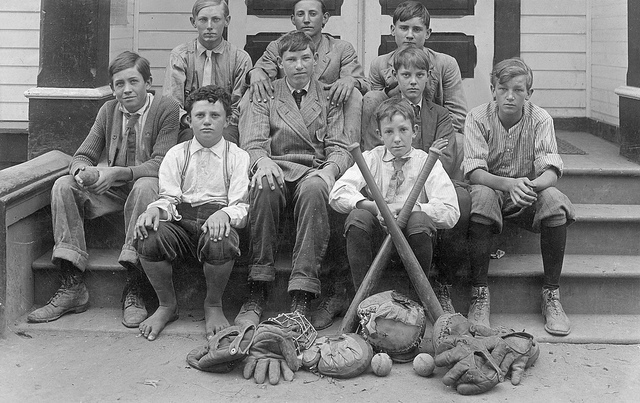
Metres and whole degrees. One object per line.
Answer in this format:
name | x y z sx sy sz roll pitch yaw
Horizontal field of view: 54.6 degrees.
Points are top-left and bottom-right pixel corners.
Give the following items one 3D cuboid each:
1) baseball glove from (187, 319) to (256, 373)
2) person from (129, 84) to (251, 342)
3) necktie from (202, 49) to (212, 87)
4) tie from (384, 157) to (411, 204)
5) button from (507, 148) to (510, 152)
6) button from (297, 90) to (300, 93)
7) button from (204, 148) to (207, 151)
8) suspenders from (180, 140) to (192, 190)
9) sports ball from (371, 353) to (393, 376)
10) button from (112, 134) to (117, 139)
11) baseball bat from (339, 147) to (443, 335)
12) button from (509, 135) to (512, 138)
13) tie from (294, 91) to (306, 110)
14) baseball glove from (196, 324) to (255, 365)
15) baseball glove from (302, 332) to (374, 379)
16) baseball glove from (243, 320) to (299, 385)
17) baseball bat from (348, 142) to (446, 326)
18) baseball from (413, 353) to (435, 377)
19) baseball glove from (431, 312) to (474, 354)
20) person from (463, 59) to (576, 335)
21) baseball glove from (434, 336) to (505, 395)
baseball glove | -0.698 0.982 4.110 0.498 0.176 0.358 -2 15 6
person | -0.903 0.075 4.458 0.794 1.774 0.526 0 11 -7
necktie | -0.952 -1.139 5.265 0.079 0.295 0.072 1 11 -3
tie | 0.553 -0.150 4.500 0.187 0.369 0.117 2 4 -9
button | 1.424 -0.387 4.686 0.023 0.022 0.005 1 0 1
button | -0.162 -0.853 4.808 0.024 0.022 0.024 2 1 5
button | -0.841 -0.377 4.557 0.021 0.020 0.005 1 -2 -4
suspenders | -0.983 -0.267 4.575 0.089 0.350 0.080 -1 11 -12
sports ball | 0.397 1.054 3.987 0.135 0.127 0.134 0 7 0
button | -1.590 -0.501 4.816 0.037 0.036 0.009 0 -2 1
baseball bat | 0.514 0.270 4.317 0.157 1.516 0.148 33 -1 11
button | 1.434 -0.487 4.671 0.021 0.021 0.005 3 0 3
tie | -0.158 -0.799 4.857 0.092 0.113 0.038 2 -1 4
baseball glove | -0.621 0.965 4.086 0.481 0.134 0.342 -14 19 8
baseball glove | 0.136 1.053 4.053 0.339 0.110 0.317 -19 42 -6
baseball glove | -0.311 0.986 3.975 0.337 0.340 0.167 0 11 -6
baseball bat | 0.536 0.224 4.320 0.172 1.465 0.157 -30 -3 5
baseball | 0.673 1.058 4.012 0.136 0.139 0.087 3 11 11
baseball glove | 0.848 0.843 4.031 0.242 0.229 0.253 1 0 30
person | 1.457 -0.064 4.534 0.832 1.906 0.639 4 11 12
baseball glove | 0.938 1.029 3.903 0.422 0.329 0.207 3 10 7
